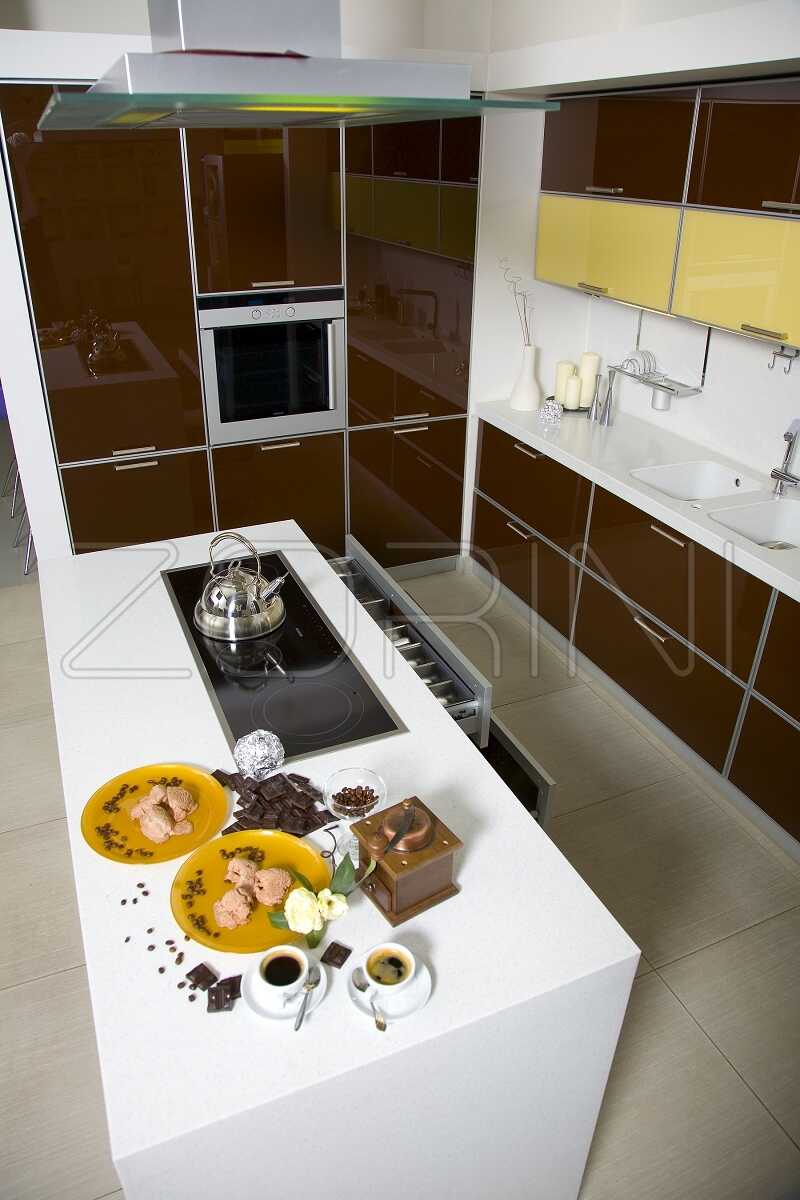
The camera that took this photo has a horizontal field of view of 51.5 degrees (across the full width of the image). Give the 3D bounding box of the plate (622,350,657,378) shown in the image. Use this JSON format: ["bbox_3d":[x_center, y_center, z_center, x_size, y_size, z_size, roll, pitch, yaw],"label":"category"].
[{"bbox_3d":[1.014,-0.984,3.469,0.065,0.107,0.118,-10,42,-21],"label":"plate"}]

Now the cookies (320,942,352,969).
[{"bbox_3d":[-0.096,0.537,1.247,0.038,0.003,0.043,11,23,5],"label":"cookies"}]

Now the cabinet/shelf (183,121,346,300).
[{"bbox_3d":[-0.460,-1.510,3.505,0.884,0.907,0.521,-8,35,-11],"label":"cabinet/shelf"}]

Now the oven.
[{"bbox_3d":[-0.514,-0.989,3.629,0.618,0.611,0.422,-3,7,3],"label":"oven"}]

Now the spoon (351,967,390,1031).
[{"bbox_3d":[-0.046,0.559,1.166,0.023,0.015,0.089,-4,24,-14],"label":"spoon"}]

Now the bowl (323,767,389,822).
[{"bbox_3d":[-0.084,0.363,1.578,0.119,0.059,0.167,-2,27,-4],"label":"bowl"}]

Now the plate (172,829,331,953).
[{"bbox_3d":[-0.253,0.423,1.356,0.256,0.130,0.174,-20,36,-40],"label":"plate"}]

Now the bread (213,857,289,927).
[{"bbox_3d":[-0.235,0.464,1.358,0.118,0.054,0.156,-1,27,-1],"label":"bread"}]

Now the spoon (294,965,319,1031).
[{"bbox_3d":[-0.132,0.555,1.161,0.014,0.009,0.074,5,23,10],"label":"spoon"}]

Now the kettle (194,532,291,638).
[{"bbox_3d":[-0.443,-0.061,2.242,0.241,0.265,0.248,5,20,14],"label":"kettle"}]

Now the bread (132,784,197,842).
[{"bbox_3d":[-0.429,0.383,1.504,0.081,0.027,0.096,18,40,17],"label":"bread"}]
